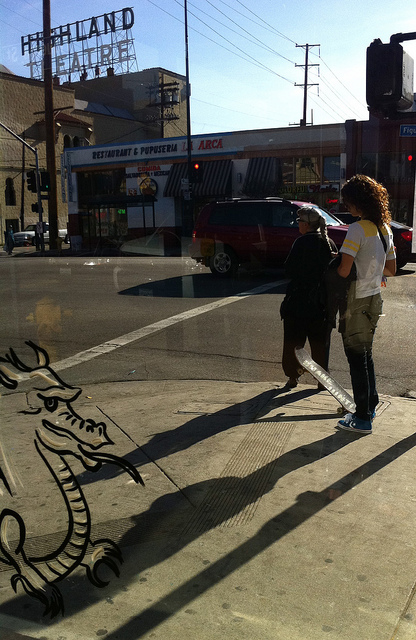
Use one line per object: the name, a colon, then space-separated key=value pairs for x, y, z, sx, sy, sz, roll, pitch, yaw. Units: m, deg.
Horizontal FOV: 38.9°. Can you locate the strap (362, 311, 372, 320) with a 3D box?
strap: x=1.000 y=-0.029 z=3.671 sx=0.039 sy=0.095 sz=0.021 roll=-22 pitch=21 yaw=10

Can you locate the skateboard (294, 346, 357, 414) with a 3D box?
skateboard: x=0.825 y=0.388 z=3.929 sx=0.422 sy=0.416 sz=0.364 roll=3 pitch=8 yaw=26

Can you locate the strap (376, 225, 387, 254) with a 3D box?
strap: x=1.094 y=-0.497 z=3.679 sx=0.032 sy=0.187 sz=0.010 roll=-12 pitch=11 yaw=30

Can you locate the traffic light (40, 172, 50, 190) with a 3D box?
traffic light: x=-8.227 y=-6.937 z=29.451 sx=0.378 sy=0.776 sz=0.757 roll=0 pitch=7 yaw=9

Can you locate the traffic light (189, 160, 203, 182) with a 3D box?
traffic light: x=-0.533 y=-5.907 z=23.541 sx=0.345 sy=0.762 sz=0.716 roll=-7 pitch=9 yaw=-37

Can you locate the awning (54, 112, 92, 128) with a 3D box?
awning: x=-11.067 y=-16.042 z=47.429 sx=0.623 sy=0.863 sz=3.813 roll=3 pitch=8 yaw=28
